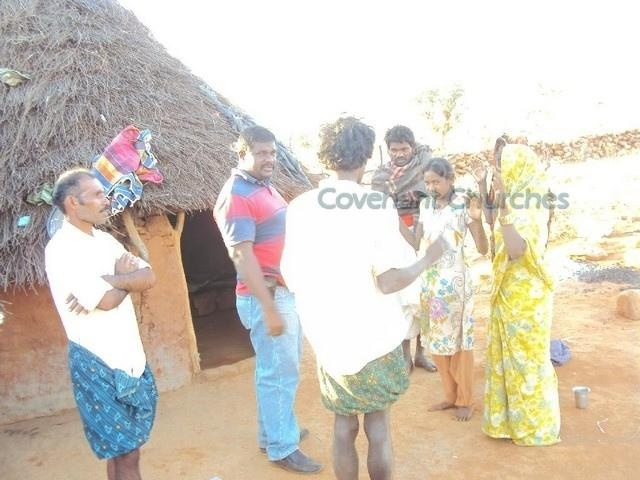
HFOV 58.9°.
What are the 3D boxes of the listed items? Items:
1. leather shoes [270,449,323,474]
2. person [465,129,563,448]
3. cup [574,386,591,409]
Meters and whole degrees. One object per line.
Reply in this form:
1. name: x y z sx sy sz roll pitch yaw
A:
1. leather shoes: -0.183 1.954 4.961 0.342 0.146 0.170 1 1 21
2. person: 1.747 0.489 5.010 0.645 2.635 0.521 -2 12 16
3. cup: 2.560 1.534 5.565 0.174 0.186 0.184 2 0 0
